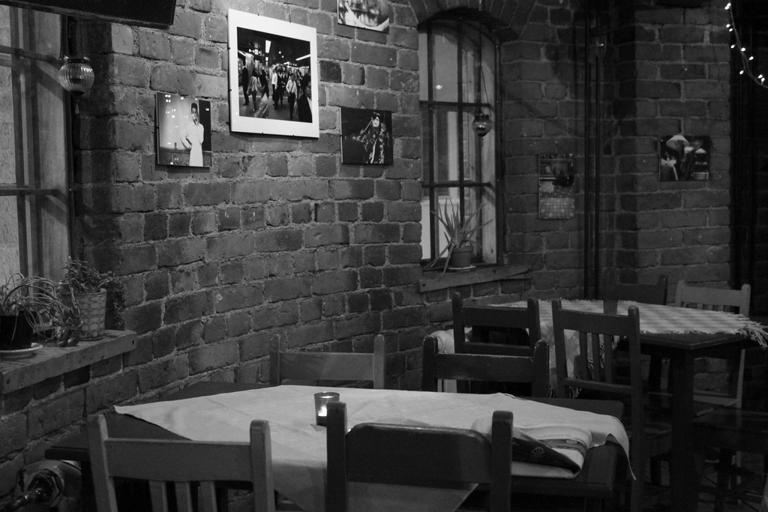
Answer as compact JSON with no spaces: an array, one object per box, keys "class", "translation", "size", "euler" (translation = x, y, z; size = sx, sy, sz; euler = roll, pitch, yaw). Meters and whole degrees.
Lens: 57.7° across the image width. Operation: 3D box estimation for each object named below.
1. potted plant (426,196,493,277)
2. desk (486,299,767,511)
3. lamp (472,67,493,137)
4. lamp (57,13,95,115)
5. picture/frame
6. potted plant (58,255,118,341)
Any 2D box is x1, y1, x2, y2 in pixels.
[{"class":"potted plant","translation":[0.567,-0.135,5.755],"size":[0.474,0.532,0.517],"euler":[-4,-4,-11]},{"class":"desk","translation":[1.570,0.626,4.061],"size":[1.074,1.001,1.334],"euler":[1,3,33]},{"class":"lamp","translation":[0.827,-1.309,5.829],"size":[0.145,0.626,0.398],"euler":[-1,4,9]},{"class":"lamp","translation":[-1.516,-0.969,3.444],"size":[0.160,0.493,0.387],"euler":[-3,5,-22]},{"class":"picture/frame","translation":[-0.703,-1.157,4.508],"size":[0.735,0.745,0.020],"euler":[14,27,25]},{"class":"potted plant","translation":[-1.470,0.218,3.504],"size":[0.237,0.383,0.296],"euler":[-2,4,-8]}]
